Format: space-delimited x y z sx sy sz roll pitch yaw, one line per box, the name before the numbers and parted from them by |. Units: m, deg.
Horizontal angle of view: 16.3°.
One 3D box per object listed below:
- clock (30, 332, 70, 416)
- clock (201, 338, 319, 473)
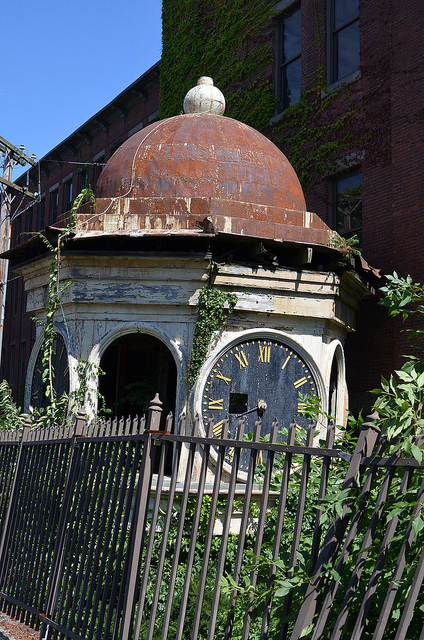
clock | -2.275 0.795 20.782 0.273 1.160 1.824 6 -5 -15
clock | 0.461 1.002 17.133 1.444 1.657 0.175 5 -15 -27
